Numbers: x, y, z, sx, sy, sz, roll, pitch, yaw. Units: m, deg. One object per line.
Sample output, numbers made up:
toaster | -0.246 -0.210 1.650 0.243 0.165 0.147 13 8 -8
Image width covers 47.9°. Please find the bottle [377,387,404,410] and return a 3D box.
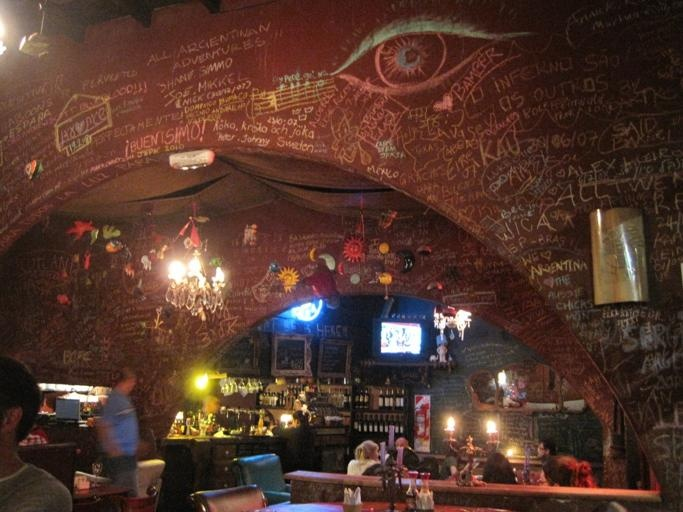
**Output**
bottle | 0.914 2.628 14.123 0.416 0.426 0.104 0 -33 3

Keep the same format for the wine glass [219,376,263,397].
wine glass | -1.698 2.126 12.626 0.794 0.351 0.297 3 5 -33

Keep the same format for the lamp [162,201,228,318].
lamp | -1.981 0.051 10.668 0.862 1.514 1.415 6 -17 -13
